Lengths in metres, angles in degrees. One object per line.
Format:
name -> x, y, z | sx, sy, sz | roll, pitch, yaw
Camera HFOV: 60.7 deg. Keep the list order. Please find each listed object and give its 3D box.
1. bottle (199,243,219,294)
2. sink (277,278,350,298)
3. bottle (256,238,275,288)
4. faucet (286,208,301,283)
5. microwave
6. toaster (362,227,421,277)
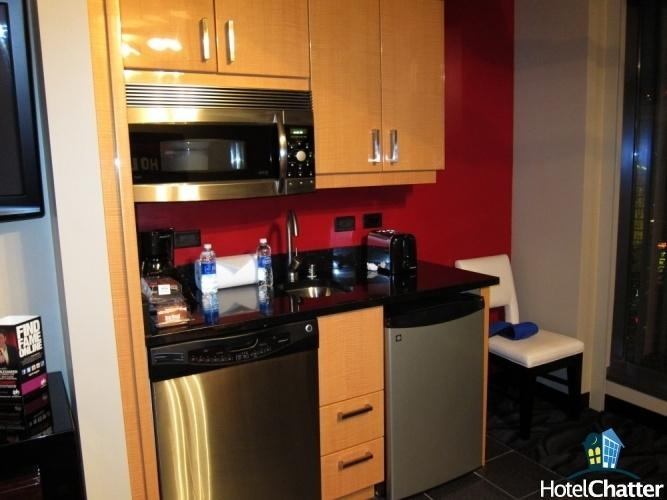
bottle -> -0.627, 0.094, 2.825 | 0.098, 0.261, 0.184 | -8, 11, -12
sink -> -0.068, 0.215, 3.054 | 0.397, 0.105, 0.179 | -2, 11, 21
bottle -> -0.357, 0.066, 2.978 | 0.102, 0.262, 0.124 | -11, 12, -28
faucet -> -0.235, -0.030, 3.155 | 0.081, 0.399, 0.251 | -7, 11, -5
microwave -> -0.532, -0.596, 2.860 | 0.889, 0.563, 0.560 | -2, 36, -1
toaster -> 0.323, 0.009, 3.334 | 0.165, 0.243, 0.300 | -8, 11, -36
